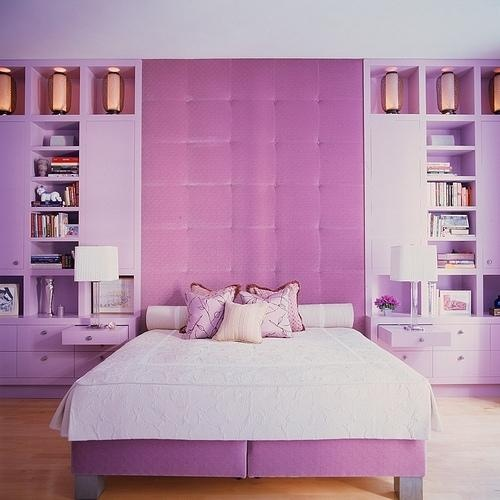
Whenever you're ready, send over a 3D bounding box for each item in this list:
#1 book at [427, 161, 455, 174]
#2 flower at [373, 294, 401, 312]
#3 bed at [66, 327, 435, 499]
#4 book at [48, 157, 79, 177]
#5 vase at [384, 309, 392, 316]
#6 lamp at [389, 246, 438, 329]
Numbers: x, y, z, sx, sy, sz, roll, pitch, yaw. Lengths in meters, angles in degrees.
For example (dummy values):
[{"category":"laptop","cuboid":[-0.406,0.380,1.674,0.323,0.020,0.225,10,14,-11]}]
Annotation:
[{"category":"book","cuboid":[1.637,-0.705,5.013,0.137,0.132,0.133,1,5,7]},{"category":"flower","cuboid":[1.160,0.447,4.923,0.147,0.109,0.150,1,-6,-2]},{"category":"bed","cuboid":[-0.029,1.054,3.616,2.165,0.688,0.943,-2,12,-10]},{"category":"book","cuboid":[-1.598,-0.721,4.970,0.200,0.121,0.197,0,-2,-13]},{"category":"vase","cuboid":[1.169,0.521,4.893,0.081,0.082,0.046,0,-4,-1]},{"category":"lamp","cuboid":[1.301,0.296,4.610,0.358,0.699,0.355,2,12,14]}]
